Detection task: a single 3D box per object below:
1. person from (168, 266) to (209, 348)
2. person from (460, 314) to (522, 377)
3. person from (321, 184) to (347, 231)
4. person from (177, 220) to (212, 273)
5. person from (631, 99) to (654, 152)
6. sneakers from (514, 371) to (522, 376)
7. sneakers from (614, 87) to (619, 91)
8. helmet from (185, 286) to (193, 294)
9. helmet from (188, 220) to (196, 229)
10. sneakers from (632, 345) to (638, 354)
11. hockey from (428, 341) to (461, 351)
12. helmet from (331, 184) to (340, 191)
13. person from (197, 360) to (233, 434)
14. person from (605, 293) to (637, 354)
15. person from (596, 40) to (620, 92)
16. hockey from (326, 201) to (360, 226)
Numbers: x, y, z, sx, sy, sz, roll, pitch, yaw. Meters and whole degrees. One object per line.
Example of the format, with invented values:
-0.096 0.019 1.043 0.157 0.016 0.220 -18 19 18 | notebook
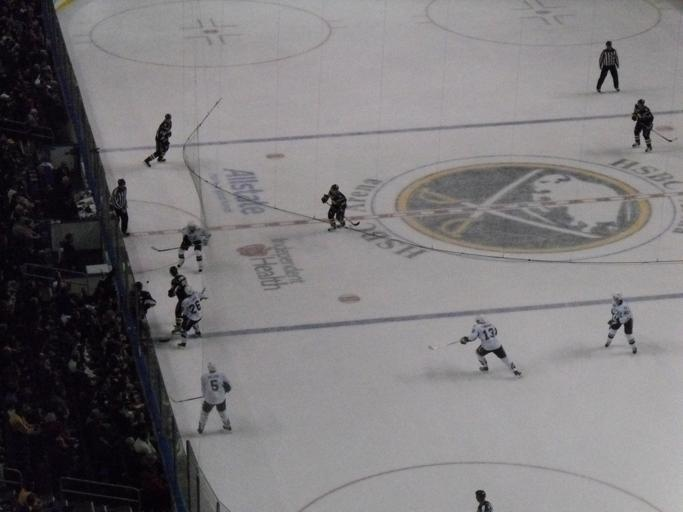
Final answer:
-2.765 0.982 19.226 1.076 1.254 0.458 -30 52 -30 | person
2.571 1.532 18.010 0.647 0.930 1.454 -11 9 -28 | person
-0.124 -1.005 22.188 0.506 0.887 1.118 -4 -4 0 | person
-2.894 -0.215 21.036 0.689 0.952 0.504 -1 22 -10 | person
6.648 -2.836 23.525 0.498 0.816 1.099 -5 -4 16 | person
2.986 1.976 17.975 0.164 0.105 0.110 -3 -4 -13 | sneakers
6.482 -3.921 25.077 0.089 0.087 0.239 -1 6 -5 | sneakers
-2.659 0.608 18.644 0.156 0.133 0.175 -3 -4 -17 | helmet
-2.913 -0.606 20.853 0.146 0.086 0.133 -4 14 -17 | helmet
5.093 1.621 18.480 0.059 0.064 0.147 -5 41 29 | sneakers
1.814 1.585 18.718 0.562 0.075 0.071 -9 44 -11 | hockey
-0.147 -1.421 21.786 0.179 0.154 0.166 -6 -4 13 | helmet
-2.015 2.238 16.714 0.539 1.085 0.490 -4 -3 -9 | person
4.877 1.200 18.675 0.533 0.731 0.843 -5 -4 13 | person
6.224 -4.361 24.912 0.592 0.831 1.487 -5 -4 14 | person
0.017 -0.831 22.284 0.610 0.522 0.411 4 8 0 | hockey
